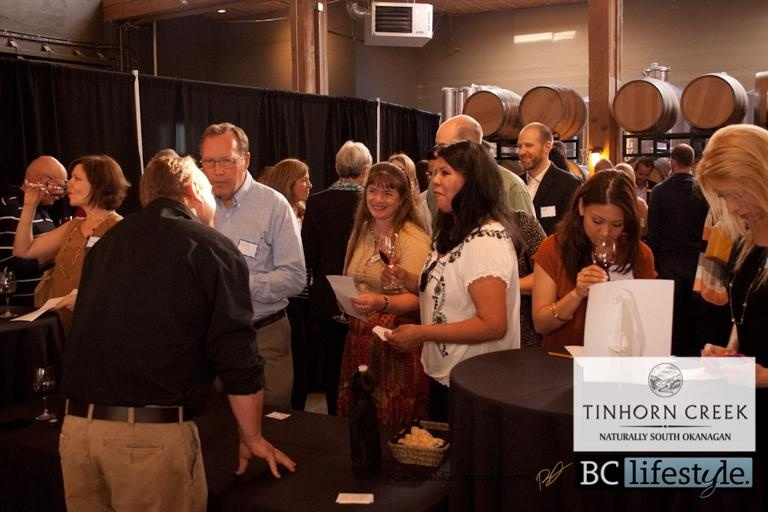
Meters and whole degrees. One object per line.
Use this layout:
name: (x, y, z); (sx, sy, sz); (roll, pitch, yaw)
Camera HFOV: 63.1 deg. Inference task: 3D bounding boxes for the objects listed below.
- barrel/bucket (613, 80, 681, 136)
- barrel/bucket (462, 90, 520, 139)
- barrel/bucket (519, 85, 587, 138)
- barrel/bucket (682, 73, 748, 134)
barrel/bucket: (3.273, -1.894, 7.966); (0.730, 0.689, 0.716); (-12, 17, 4)
barrel/bucket: (1.437, -1.729, 7.748); (0.409, 0.548, 0.394); (-8, 26, 4)
barrel/bucket: (2.105, -1.789, 7.911); (0.722, 0.700, 0.968); (10, 7, 34)
barrel/bucket: (3.936, -1.872, 7.603); (0.663, 0.652, 0.649); (-11, 10, 2)
